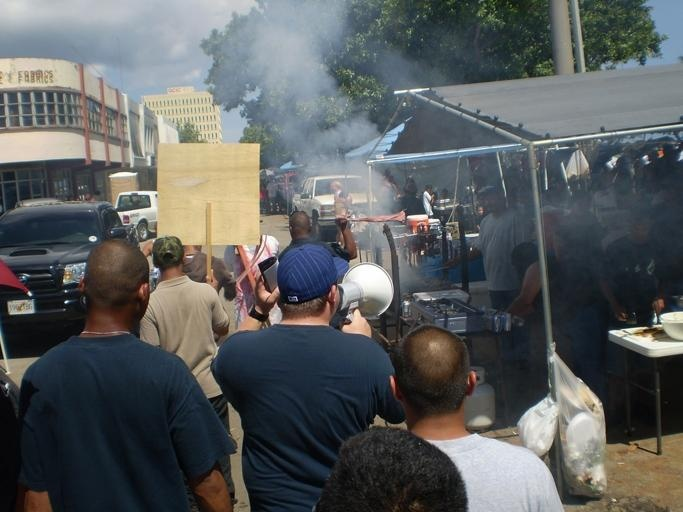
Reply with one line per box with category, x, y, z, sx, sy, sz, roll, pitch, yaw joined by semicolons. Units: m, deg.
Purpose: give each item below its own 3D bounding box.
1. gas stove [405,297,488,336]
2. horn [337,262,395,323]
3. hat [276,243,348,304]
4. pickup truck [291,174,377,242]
gas stove;0.992;0.586;6.166;0.555;0.229;1.011;-3;3;-11
horn;0.143;0.218;3.636;0.290;0.246;0.607;-6;2;4
hat;-0.179;0.069;3.293;0.263;0.340;0.285;8;4;-6
pickup truck;-0.298;-1.704;19.947;2.438;2.421;2.382;-1;8;-23
